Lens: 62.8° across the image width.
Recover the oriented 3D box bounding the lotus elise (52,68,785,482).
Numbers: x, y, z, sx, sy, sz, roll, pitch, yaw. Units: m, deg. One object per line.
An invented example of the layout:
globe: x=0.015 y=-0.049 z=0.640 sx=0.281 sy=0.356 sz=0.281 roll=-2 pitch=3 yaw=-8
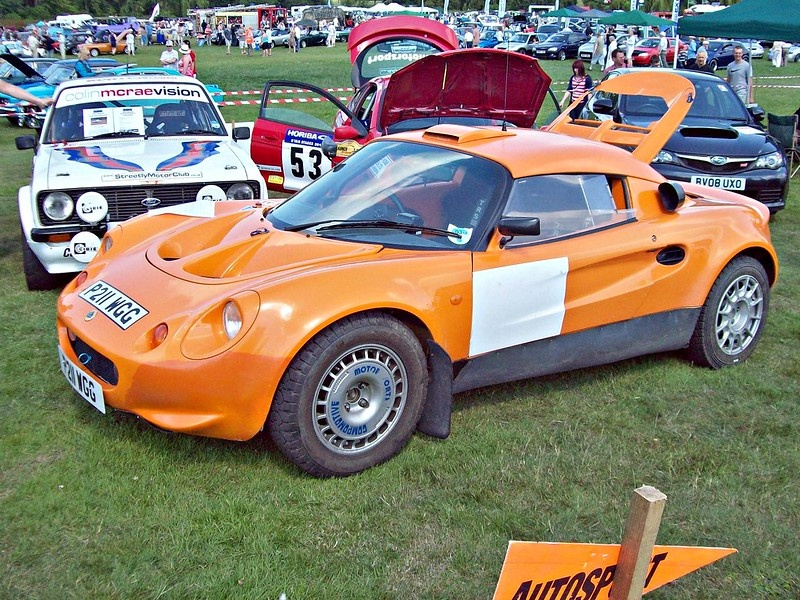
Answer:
lotus elise: x=0.119 y=-0.206 z=4.530 sx=4.507 sy=1.910 sz=1.736 roll=-8 pitch=20 yaw=-25

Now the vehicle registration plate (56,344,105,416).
vehicle registration plate: x=-1.913 y=0.473 z=3.941 sx=0.063 sy=0.270 sz=0.671 roll=-18 pitch=24 yaw=-40

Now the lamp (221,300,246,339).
lamp: x=-0.913 y=0.108 z=3.556 sx=0.051 sy=0.185 sz=0.156 roll=8 pitch=-22 yaw=-45

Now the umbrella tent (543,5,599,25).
umbrella tent: x=13.692 y=-22.565 z=51.582 sx=4.340 sy=1.030 sz=4.147 roll=3 pitch=23 yaw=10

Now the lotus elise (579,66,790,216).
lotus elise: x=4.134 y=-2.399 z=9.707 sx=2.164 sy=1.318 sz=3.265 roll=2 pitch=18 yaw=-1
